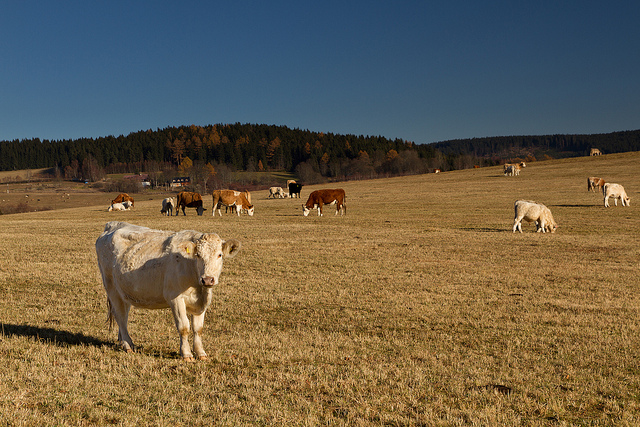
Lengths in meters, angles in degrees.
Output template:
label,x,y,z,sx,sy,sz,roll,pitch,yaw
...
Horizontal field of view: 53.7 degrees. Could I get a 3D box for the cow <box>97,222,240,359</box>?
label,x,y,z,sx,sy,sz,roll,pitch,yaw
cow,-4.563,2.274,18.435,5.419,3.837,2.137,3,2,33

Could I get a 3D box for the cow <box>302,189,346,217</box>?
label,x,y,z,sx,sy,sz,roll,pitch,yaw
cow,0.409,-0.903,49.124,2.830,1.917,5.516,0,7,7

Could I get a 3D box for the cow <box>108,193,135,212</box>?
label,x,y,z,sx,sy,sz,roll,pitch,yaw
cow,-19.709,-1.085,62.983,1.189,1.623,3.582,-1,7,2

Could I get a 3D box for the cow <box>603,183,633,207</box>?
label,x,y,z,sx,sy,sz,roll,pitch,yaw
cow,21.192,-1.366,45.064,1.513,1.558,4.689,3,8,31

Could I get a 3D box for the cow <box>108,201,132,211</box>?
label,x,y,z,sx,sy,sz,roll,pitch,yaw
cow,-19.441,-0.577,62.469,2.613,1.265,0.934,-6,11,-43

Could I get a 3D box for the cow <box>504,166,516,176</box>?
label,x,y,z,sx,sy,sz,roll,pitch,yaw
cow,26.056,-5.830,85.917,0.877,1.229,1.642,-2,7,-7

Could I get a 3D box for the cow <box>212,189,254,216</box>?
label,x,y,z,sx,sy,sz,roll,pitch,yaw
cow,-7.096,-0.752,51.914,3.551,2.212,1.153,5,-3,-7

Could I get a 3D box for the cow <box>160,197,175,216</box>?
label,x,y,z,sx,sy,sz,roll,pitch,yaw
cow,-12.951,-0.638,53.722,0.949,1.435,2.272,-3,7,-17

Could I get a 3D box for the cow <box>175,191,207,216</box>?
label,x,y,z,sx,sy,sz,roll,pitch,yaw
cow,-10.843,-0.798,53.776,3.209,2.091,1.047,4,1,32
